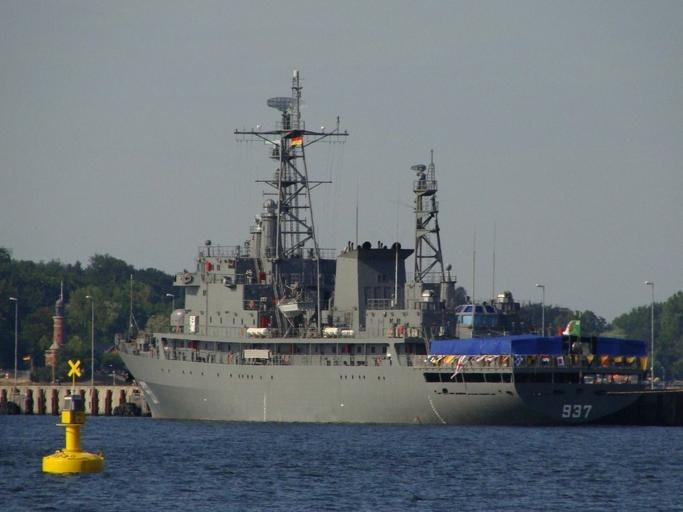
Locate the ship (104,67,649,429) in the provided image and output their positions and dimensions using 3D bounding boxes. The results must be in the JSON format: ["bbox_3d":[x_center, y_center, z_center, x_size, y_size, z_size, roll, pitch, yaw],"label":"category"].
[{"bbox_3d":[-0.699,3.483,183.217,62.092,39.021,19.396,-1,-1,40],"label":"ship"}]
